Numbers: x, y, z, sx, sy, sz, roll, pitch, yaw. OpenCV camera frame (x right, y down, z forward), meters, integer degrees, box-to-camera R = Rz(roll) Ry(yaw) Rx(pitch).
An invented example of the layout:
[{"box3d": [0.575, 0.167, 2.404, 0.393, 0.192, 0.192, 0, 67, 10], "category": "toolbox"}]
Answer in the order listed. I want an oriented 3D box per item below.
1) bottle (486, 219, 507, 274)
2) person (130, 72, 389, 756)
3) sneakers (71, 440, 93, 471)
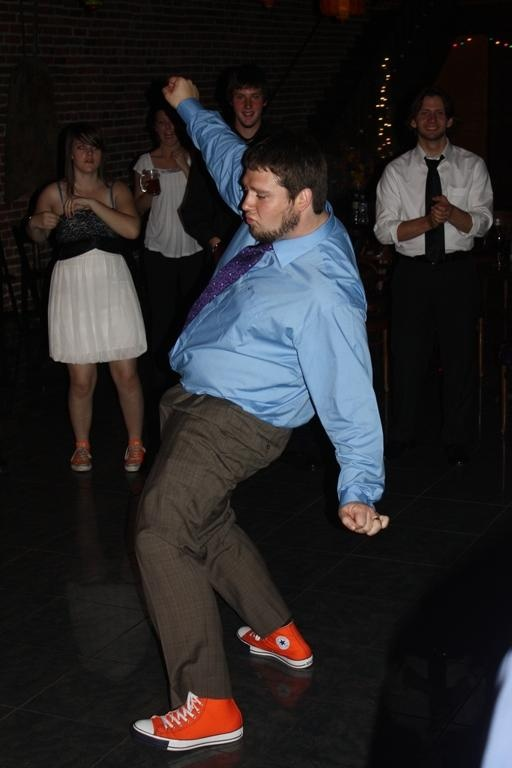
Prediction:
[{"box3d": [1.913, -1.094, 4.952, 0.136, 0.441, 0.160, 0, 7, 7], "category": "bottle"}, {"box3d": [0.024, 0.198, 1.900, 0.704, 1.805, 0.574, 3, 17, 6], "category": "person"}, {"box3d": [-1.096, 0.456, 3.932, 0.092, 0.092, 0.227, 2, 18, -8], "category": "sneakers"}]
